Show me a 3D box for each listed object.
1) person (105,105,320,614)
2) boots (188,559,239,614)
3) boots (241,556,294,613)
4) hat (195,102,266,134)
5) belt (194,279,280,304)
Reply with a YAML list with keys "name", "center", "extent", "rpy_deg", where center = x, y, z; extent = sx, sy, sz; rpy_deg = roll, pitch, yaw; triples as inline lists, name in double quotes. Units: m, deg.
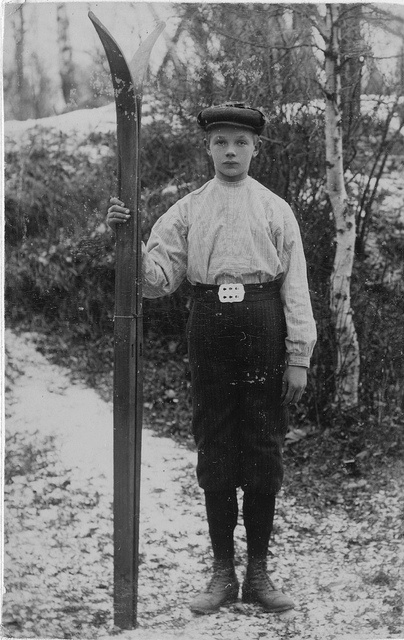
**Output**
- name: "person"
  center: [0.080, 0.114, 3.899]
  extent: [0.530, 1.587, 0.207]
  rpy_deg: [0, 2, -4]
- name: "boots"
  center: [0.042, 0.834, 3.907]
  extent: [0.200, 0.165, 0.073]
  rpy_deg: [-7, -10, -43]
- name: "boots"
  center: [0.200, 0.827, 3.898]
  extent: [0.067, 0.160, 0.191]
  rpy_deg: [7, 0, -41]
- name: "hat"
  center: [0.091, -0.624, 3.893]
  extent: [0.211, 0.087, 0.134]
  rpy_deg: [1, 3, 1]
- name: "belt"
  center: [0.107, -0.086, 3.871]
  extent: [0.262, 0.071, 0.075]
  rpy_deg: [1, 3, 3]
